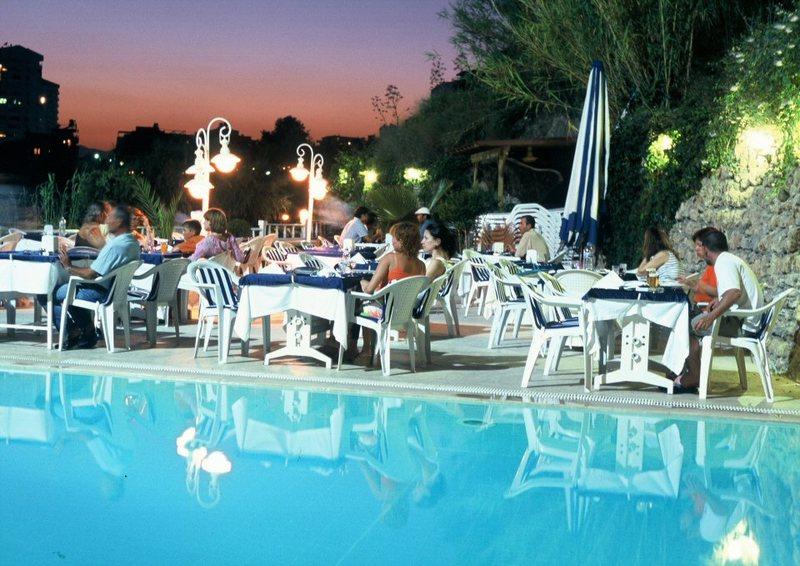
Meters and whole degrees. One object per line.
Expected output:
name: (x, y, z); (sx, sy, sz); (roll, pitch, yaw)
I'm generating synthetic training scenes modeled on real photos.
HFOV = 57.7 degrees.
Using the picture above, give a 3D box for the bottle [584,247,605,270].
bottle: (3.029, -0.393, 11.375); (0.234, 0.442, 0.423); (-3, -2, 40)

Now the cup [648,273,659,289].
cup: (2.645, -0.037, 7.548); (0.078, 0.172, 0.206); (7, 10, 43)
